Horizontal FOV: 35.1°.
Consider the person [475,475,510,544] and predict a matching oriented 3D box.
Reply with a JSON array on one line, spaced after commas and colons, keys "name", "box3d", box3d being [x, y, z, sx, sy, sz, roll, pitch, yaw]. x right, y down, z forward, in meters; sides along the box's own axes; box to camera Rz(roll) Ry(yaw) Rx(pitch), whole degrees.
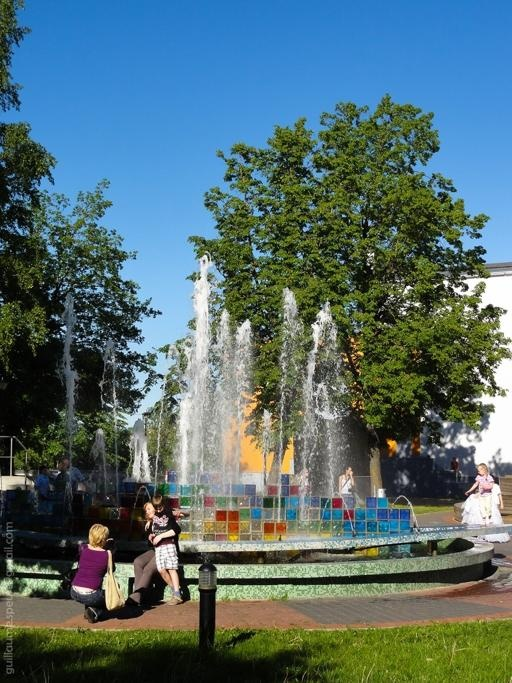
[{"name": "person", "box3d": [4.210, 3.020, 14.496, 0.460, 1.207, 2.501, -4, -12, 16]}]

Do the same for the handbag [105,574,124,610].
[{"name": "handbag", "box3d": [-1.410, 2.475, 8.012, 0.185, 0.354, 0.186, 1, -11, -9]}]

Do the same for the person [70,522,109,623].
[{"name": "person", "box3d": [-1.654, 2.306, 8.082, 0.344, 0.915, 0.361, 2, -11, -13]}]

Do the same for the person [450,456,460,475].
[{"name": "person", "box3d": [10.615, 6.667, 43.477, 0.460, 0.995, 2.035, -3, -12, 14]}]

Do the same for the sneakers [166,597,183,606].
[{"name": "sneakers", "box3d": [-0.906, 2.889, 9.018, 0.195, 0.073, 0.078, 7, -15, -11]}]

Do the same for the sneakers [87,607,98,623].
[{"name": "sneakers", "box3d": [-1.605, 2.661, 7.908, 0.134, 0.149, 0.137, 0, -11, -4]}]

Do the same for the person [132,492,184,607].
[{"name": "person", "box3d": [-1.125, 2.359, 9.211, 0.556, 1.184, 0.583, 0, -11, -4]}]
